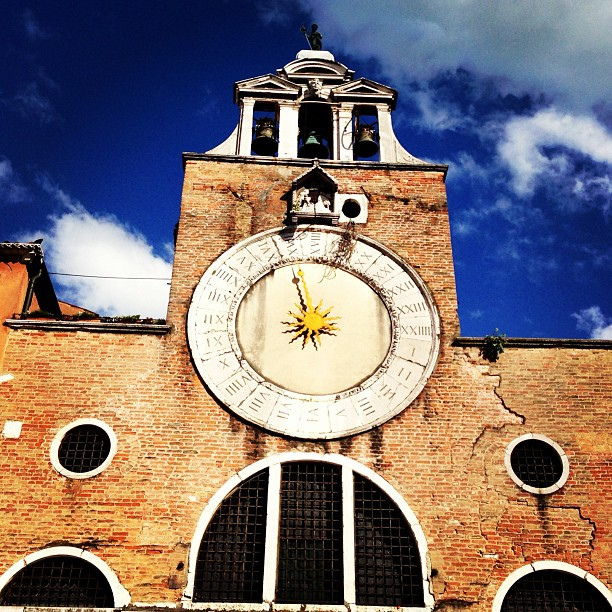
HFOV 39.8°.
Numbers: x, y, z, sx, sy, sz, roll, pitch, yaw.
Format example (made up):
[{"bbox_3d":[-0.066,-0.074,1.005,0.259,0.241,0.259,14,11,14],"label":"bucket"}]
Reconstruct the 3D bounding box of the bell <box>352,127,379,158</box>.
[{"bbox_3d":[1.683,-4.910,25.445,0.776,0.821,0.896,3,47,-3],"label":"bell"}]
